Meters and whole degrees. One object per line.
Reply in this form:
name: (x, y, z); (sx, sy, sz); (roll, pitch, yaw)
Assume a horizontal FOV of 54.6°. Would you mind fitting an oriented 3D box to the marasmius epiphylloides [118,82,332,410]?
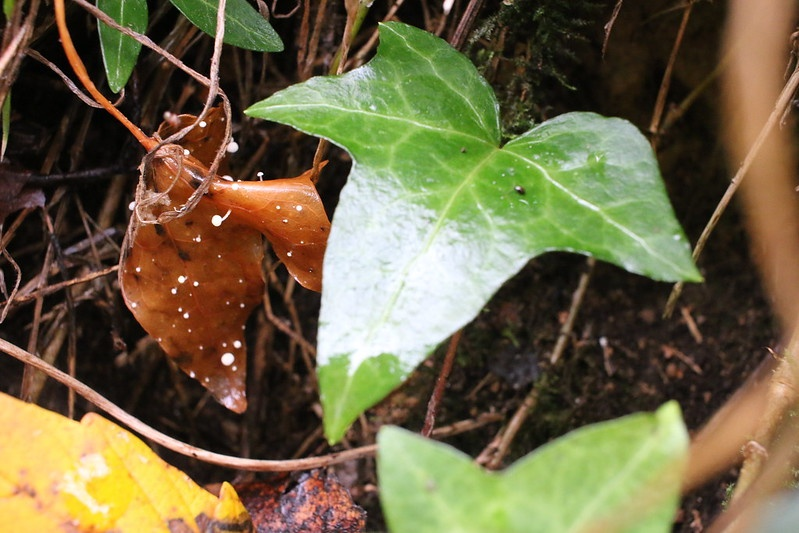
marasmius epiphylloides: (-0.324, -0.010, 1.471); (0.363, 0.494, 0.268); (18, 35, 14)
